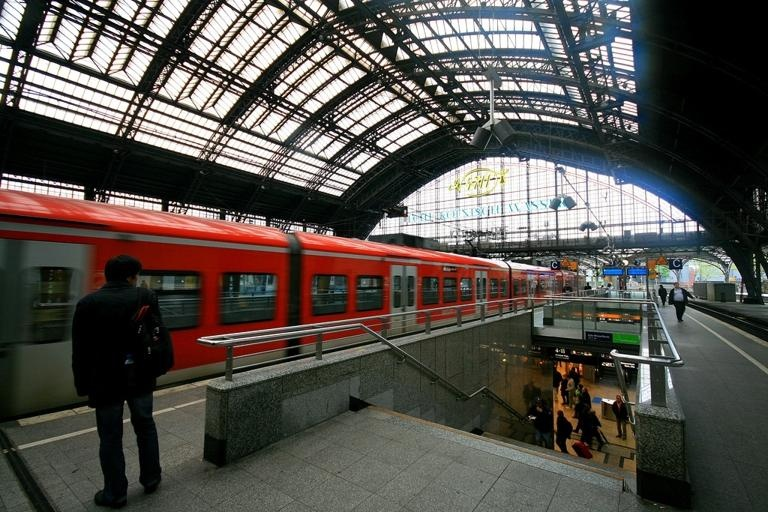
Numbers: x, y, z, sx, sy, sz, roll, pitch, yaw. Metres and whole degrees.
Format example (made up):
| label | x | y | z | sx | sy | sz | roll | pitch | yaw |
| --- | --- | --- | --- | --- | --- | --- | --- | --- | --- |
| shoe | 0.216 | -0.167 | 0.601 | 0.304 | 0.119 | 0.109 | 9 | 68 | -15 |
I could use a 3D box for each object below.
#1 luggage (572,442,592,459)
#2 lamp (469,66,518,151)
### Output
| label | x | y | z | sx | sy | sz | roll | pitch | yaw |
| --- | --- | --- | --- | --- | --- | --- | --- | --- | --- |
| luggage | 7.142 | 6.903 | 17.129 | 0.412 | 0.547 | 0.712 | -4 | -4 | 36 |
| lamp | 3.937 | -5.393 | 17.260 | 1.520 | 2.881 | 1.342 | -5 | -7 | 14 |
